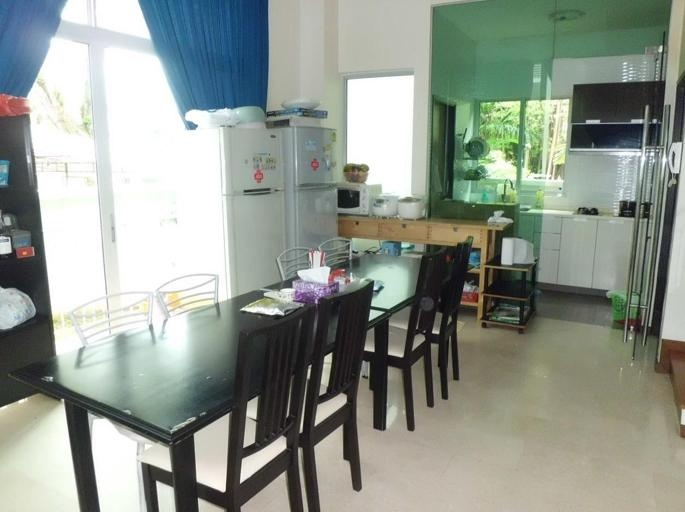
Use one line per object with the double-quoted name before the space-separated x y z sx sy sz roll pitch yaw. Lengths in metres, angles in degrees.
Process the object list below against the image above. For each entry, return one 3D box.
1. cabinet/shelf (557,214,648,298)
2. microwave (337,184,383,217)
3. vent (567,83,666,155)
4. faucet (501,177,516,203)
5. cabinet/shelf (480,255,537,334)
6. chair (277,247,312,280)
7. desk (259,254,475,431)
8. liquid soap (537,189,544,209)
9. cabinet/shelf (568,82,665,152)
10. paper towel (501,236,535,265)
"cabinet/shelf" 3.071 -0.137 6.228 0.775 1.080 0.568 7 35 28
"microwave" 0.156 -0.667 6.144 0.529 0.377 0.561 1 10 7
"vent" 3.100 -1.509 5.842 0.918 0.722 0.520 5 10 30
"faucet" 1.769 -0.690 5.482 0.159 0.260 0.051 4 13 17
"cabinet/shelf" 1.731 0.382 5.339 0.444 0.668 0.718 5 12 28
"chair" -0.400 0.064 4.348 0.217 0.370 0.210 13 21 37
"desk" 0.443 0.454 4.019 0.871 1.377 1.370 19 29 36
"liquid soap" 2.036 -0.584 5.368 0.070 0.195 0.019 2 12 5
"cabinet/shelf" 3.048 -1.488 5.962 1.001 0.787 0.559 -1 -1 2
"paper towel" 1.738 -0.041 5.148 0.305 0.233 0.232 -2 8 -5
